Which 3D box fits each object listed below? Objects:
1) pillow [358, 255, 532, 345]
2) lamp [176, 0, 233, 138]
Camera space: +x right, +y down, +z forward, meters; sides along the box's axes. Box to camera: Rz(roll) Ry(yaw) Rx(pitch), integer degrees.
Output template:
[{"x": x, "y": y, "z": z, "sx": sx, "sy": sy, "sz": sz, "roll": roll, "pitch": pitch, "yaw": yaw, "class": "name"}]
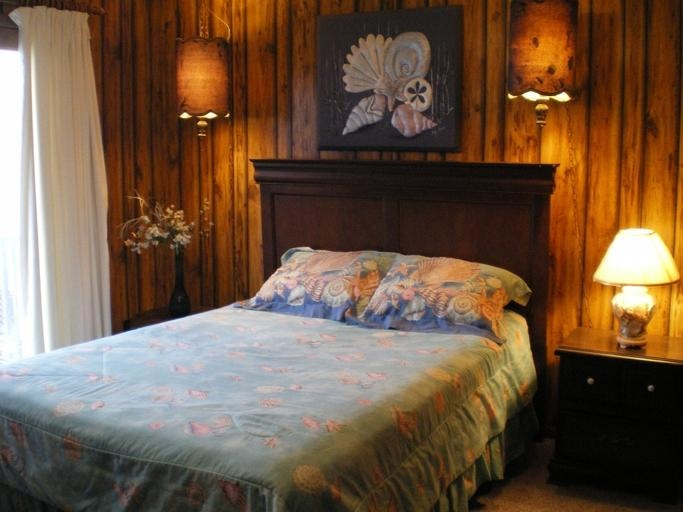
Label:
[{"x": 0.553, "y": 0.221, "z": 3.398, "sx": 0.551, "sy": 0.166, "sz": 0.581, "roll": 4, "pitch": 27, "yaw": 16, "class": "pillow"}, {"x": -0.950, "y": -1.236, "z": 4.286, "sx": 0.376, "sy": 0.841, "sz": 0.514, "roll": -2, "pitch": 14, "yaw": -11, "class": "lamp"}]
